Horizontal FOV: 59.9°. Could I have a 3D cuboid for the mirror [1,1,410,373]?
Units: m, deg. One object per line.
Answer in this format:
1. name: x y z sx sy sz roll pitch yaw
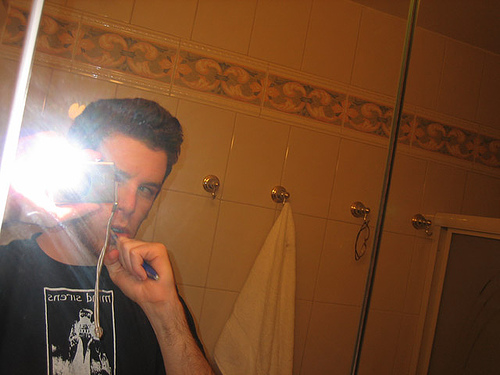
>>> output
1. mirror: -0.145 -0.011 1.026 0.688 0.877 0.014 9 1 -9
